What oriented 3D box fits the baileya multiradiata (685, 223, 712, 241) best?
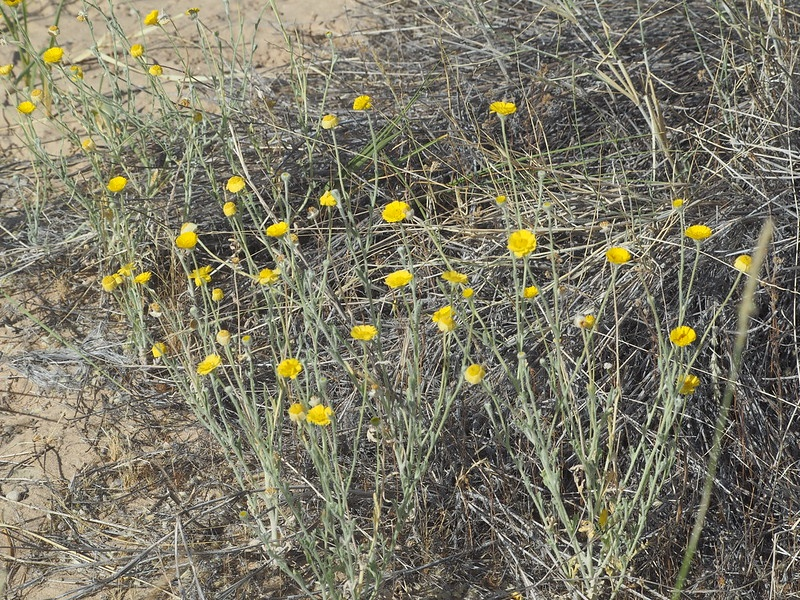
[{"bbox_3d":[0.852,-0.194,2.461,0.063,0.037,0.065,-17,30,-29],"label":"baileya multiradiata"}]
